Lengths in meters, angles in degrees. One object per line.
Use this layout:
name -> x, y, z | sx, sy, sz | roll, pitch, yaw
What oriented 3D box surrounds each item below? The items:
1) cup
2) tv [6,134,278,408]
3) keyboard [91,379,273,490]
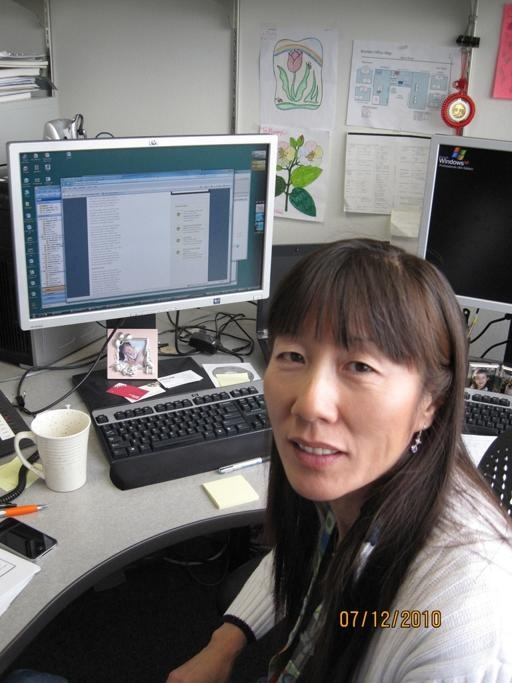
cup -> -0.325, 0.177, 0.909 | 0.157, 0.141, 0.111 | -5, 30, -19
tv -> -0.263, -0.161, 1.154 | 0.695, 0.453, 0.066 | -9, 32, -22
keyboard -> -0.130, 0.157, 1.044 | 0.371, 0.051, 0.229 | -10, 47, -36
